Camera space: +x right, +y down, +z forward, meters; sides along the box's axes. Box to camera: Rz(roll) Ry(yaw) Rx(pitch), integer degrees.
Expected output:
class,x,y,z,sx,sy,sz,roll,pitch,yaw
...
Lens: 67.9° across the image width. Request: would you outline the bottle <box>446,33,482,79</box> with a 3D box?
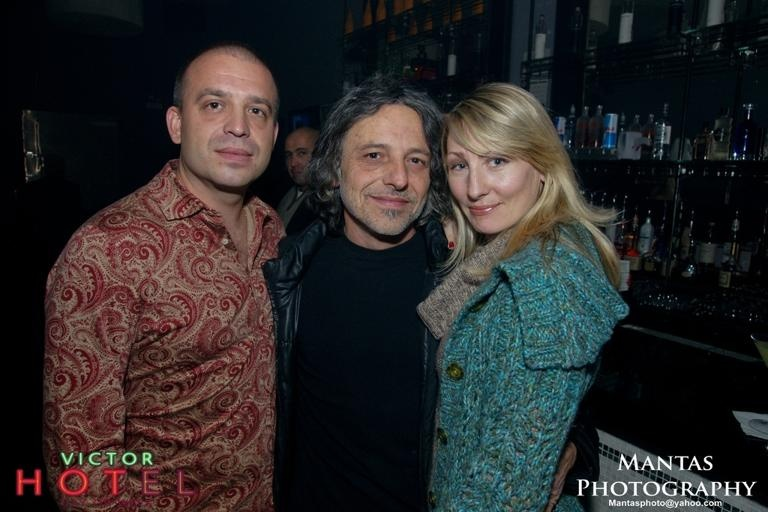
class,x,y,z,sx,sy,sz,roll,pitch,yaw
bottle,0.813,-1.963,5.691,0.485,0.441,0.118,6,4,36
